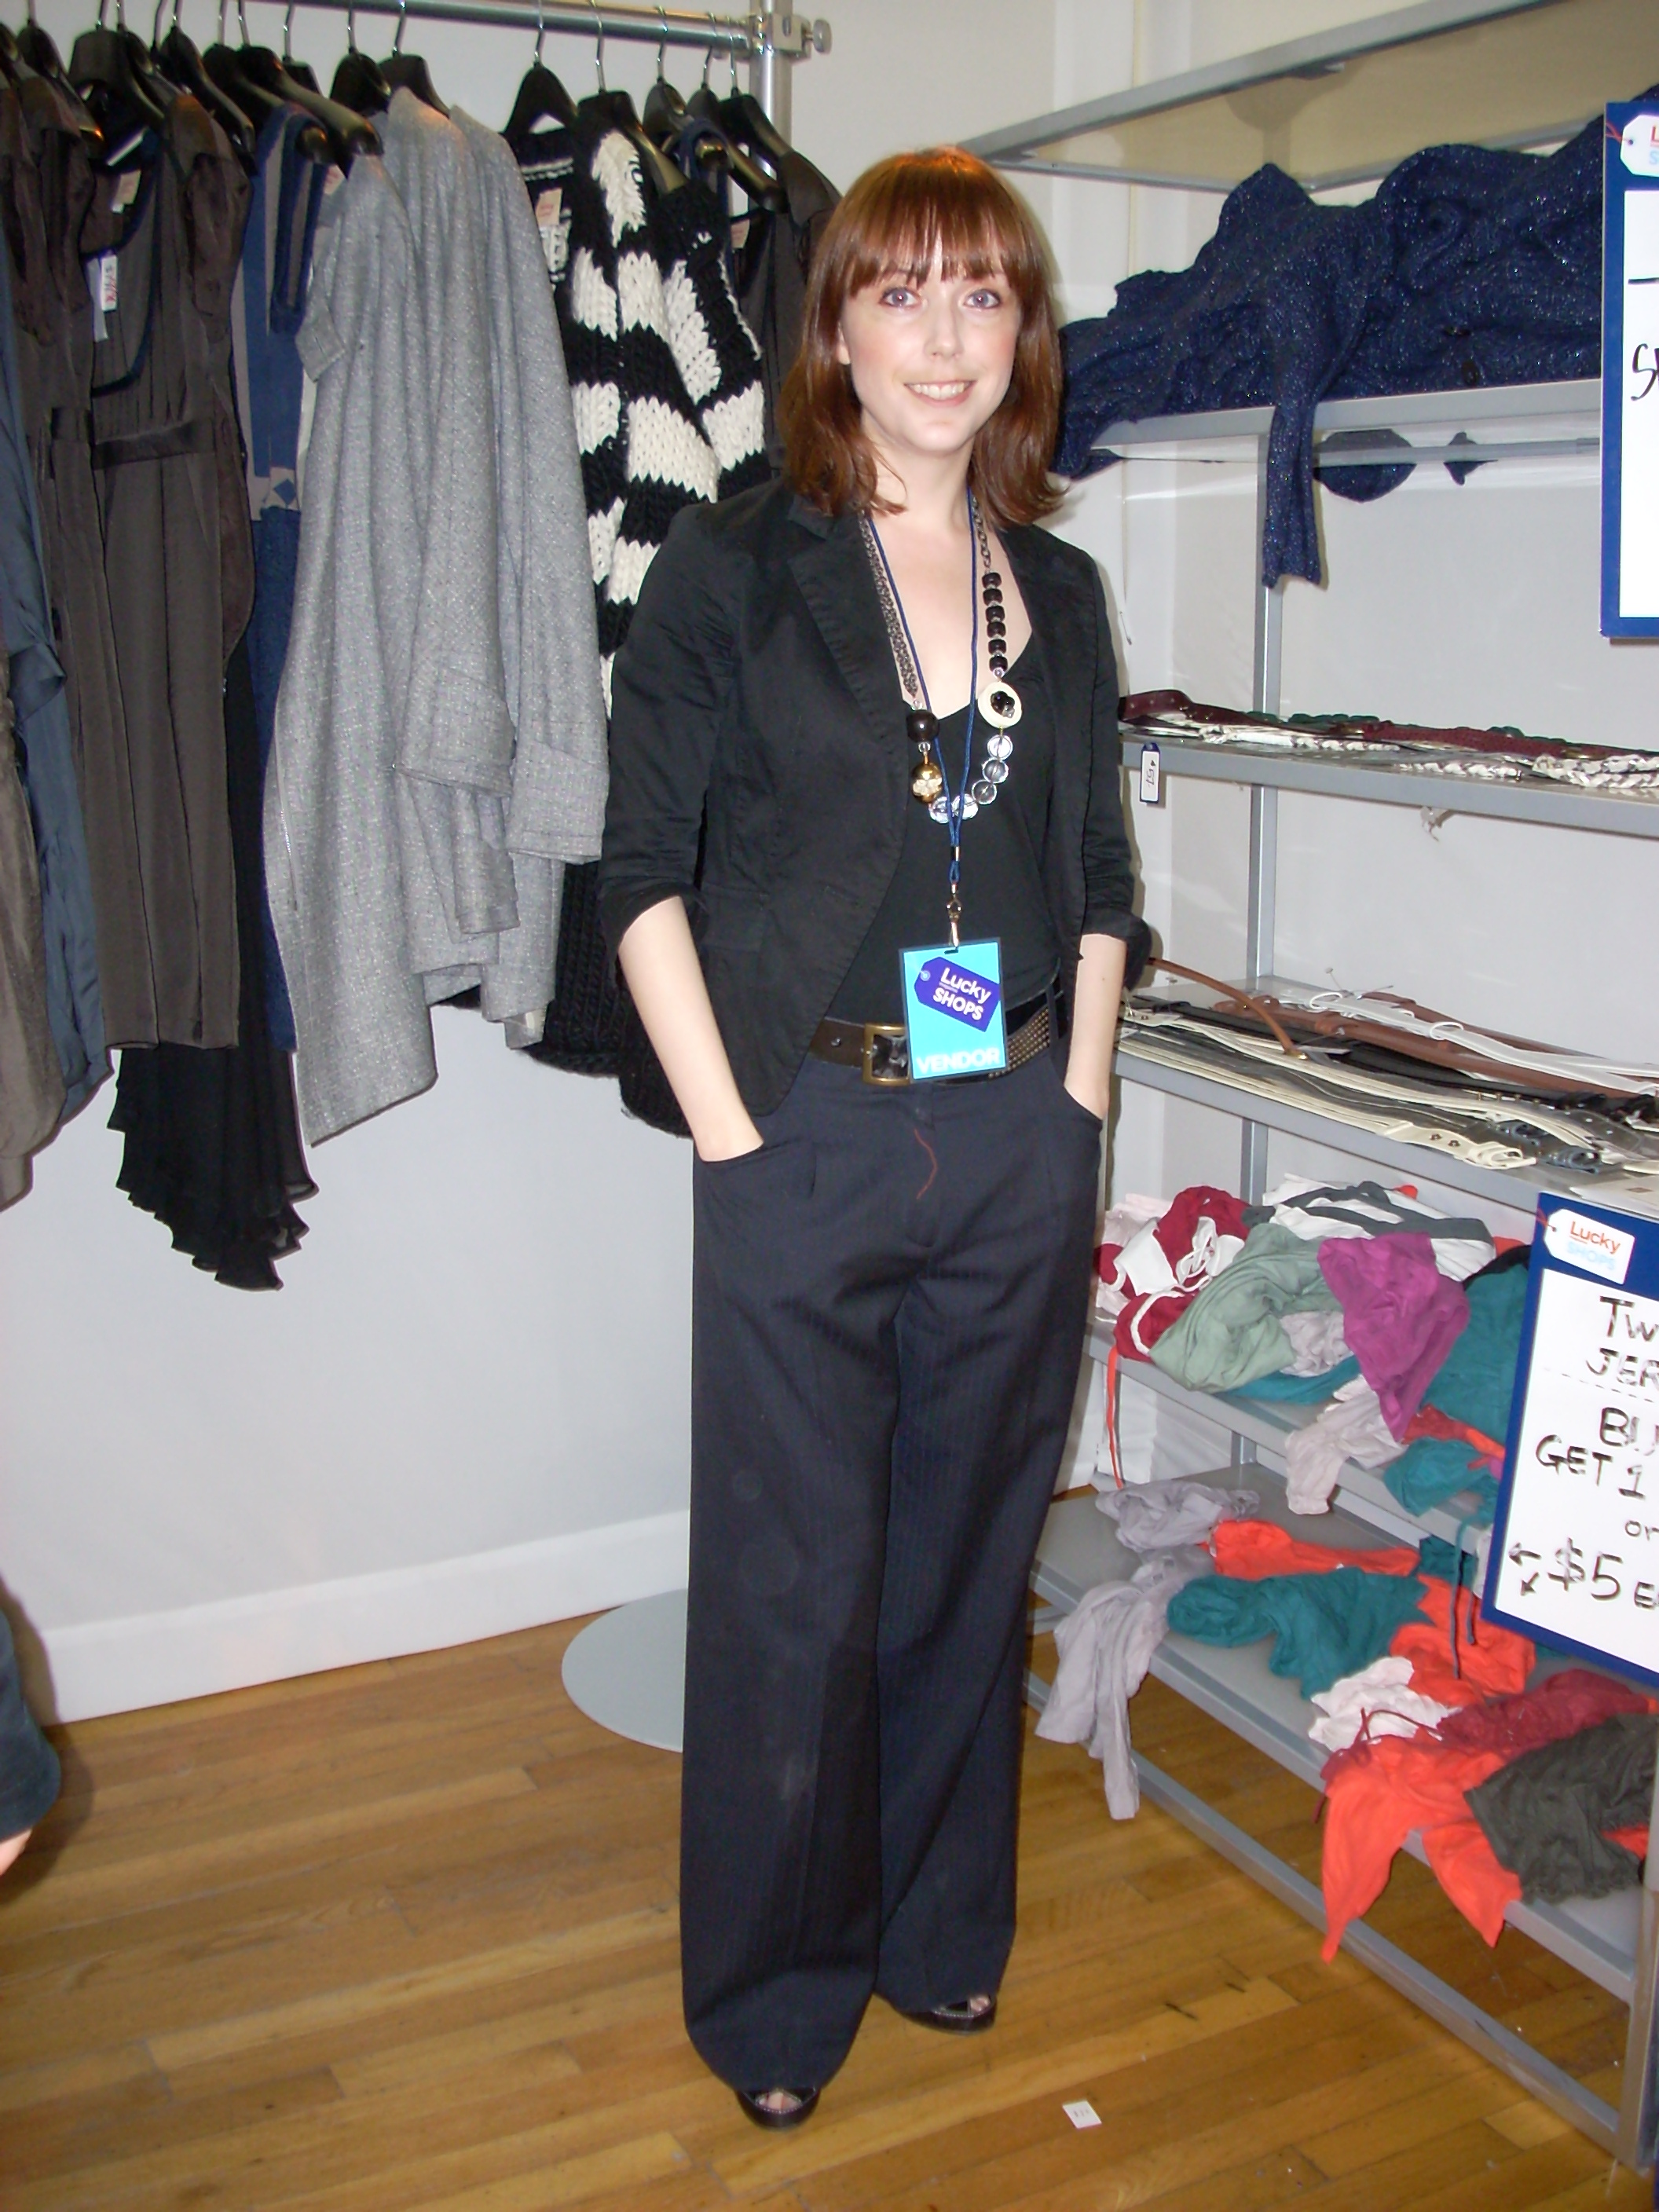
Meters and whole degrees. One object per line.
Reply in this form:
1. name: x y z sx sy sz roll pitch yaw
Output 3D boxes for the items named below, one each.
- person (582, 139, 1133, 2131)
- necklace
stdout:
1. person: 0.049 0.084 1.449 0.436 1.616 0.300 0 8 1
2. necklace: 0.096 -0.351 1.352 0.165 0.255 0.113 -6 10 -37
